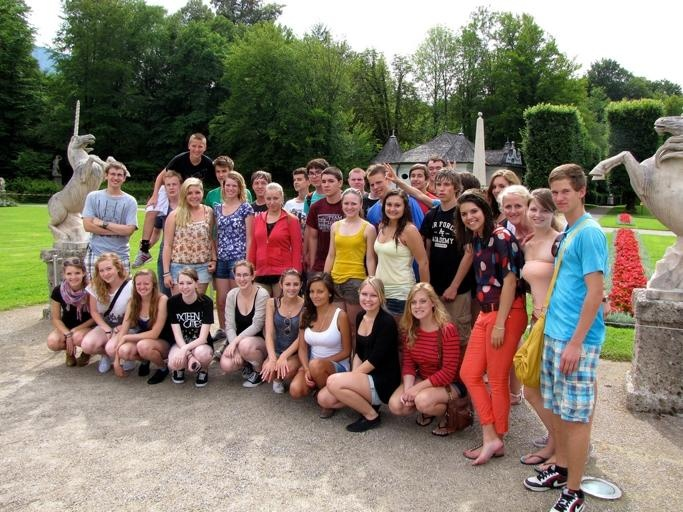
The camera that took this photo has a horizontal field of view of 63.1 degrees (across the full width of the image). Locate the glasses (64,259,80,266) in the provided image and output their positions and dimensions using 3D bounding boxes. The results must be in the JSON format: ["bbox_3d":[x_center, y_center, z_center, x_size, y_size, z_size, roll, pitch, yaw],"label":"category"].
[{"bbox_3d":[-3.797,0.082,7.800,0.196,0.095,0.149,-1,5,-25],"label":"glasses"}]

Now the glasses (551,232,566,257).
[{"bbox_3d":[2.166,-0.114,5.465,0.060,0.197,0.202,29,-27,26],"label":"glasses"}]

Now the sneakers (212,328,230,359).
[{"bbox_3d":[-1.812,1.327,8.279,0.221,0.296,0.685,1,1,-1],"label":"sneakers"}]

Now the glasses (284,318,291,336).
[{"bbox_3d":[-0.696,0.912,7.182,0.105,0.222,0.038,2,-1,8],"label":"glasses"}]

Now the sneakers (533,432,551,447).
[{"bbox_3d":[2.219,1.990,6.011,0.262,0.116,0.089,10,0,-19],"label":"sneakers"}]

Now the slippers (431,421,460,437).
[{"bbox_3d":[1.165,1.938,6.240,0.273,0.111,0.130,1,6,-15],"label":"slippers"}]

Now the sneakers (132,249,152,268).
[{"bbox_3d":[-3.199,0.040,8.905,0.151,0.203,0.441,4,17,17],"label":"sneakers"}]

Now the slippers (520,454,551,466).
[{"bbox_3d":[1.979,2.085,5.669,0.284,0.089,0.107,3,12,5],"label":"slippers"}]

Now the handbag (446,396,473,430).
[{"bbox_3d":[1.355,1.781,6.265,0.372,0.387,0.082,-1,6,-28],"label":"handbag"}]
